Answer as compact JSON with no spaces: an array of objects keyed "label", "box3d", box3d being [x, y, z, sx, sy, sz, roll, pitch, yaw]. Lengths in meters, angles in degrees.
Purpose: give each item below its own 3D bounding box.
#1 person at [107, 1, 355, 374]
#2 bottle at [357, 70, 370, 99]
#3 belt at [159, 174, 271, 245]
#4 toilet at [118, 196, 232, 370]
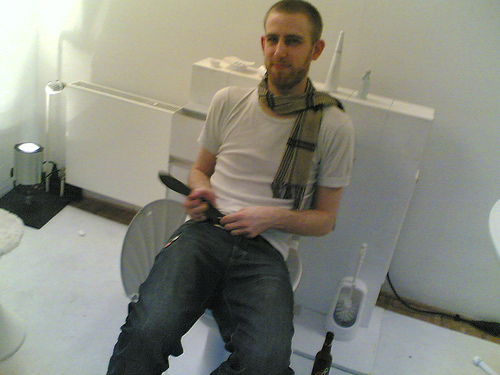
[{"label":"person","box3d":[0.040,-0.033,1.281,0.546,1.081,0.644,13,17,4]},{"label":"bottle","box3d":[0.440,-0.386,1.644,0.037,0.126,0.027,12,1,19]},{"label":"belt","box3d":[-0.102,0.059,1.424,0.395,0.175,0.130,11,16,1]},{"label":"toilet","box3d":[-0.299,0.401,1.676,0.570,0.574,0.408,7,-25,-16]}]
